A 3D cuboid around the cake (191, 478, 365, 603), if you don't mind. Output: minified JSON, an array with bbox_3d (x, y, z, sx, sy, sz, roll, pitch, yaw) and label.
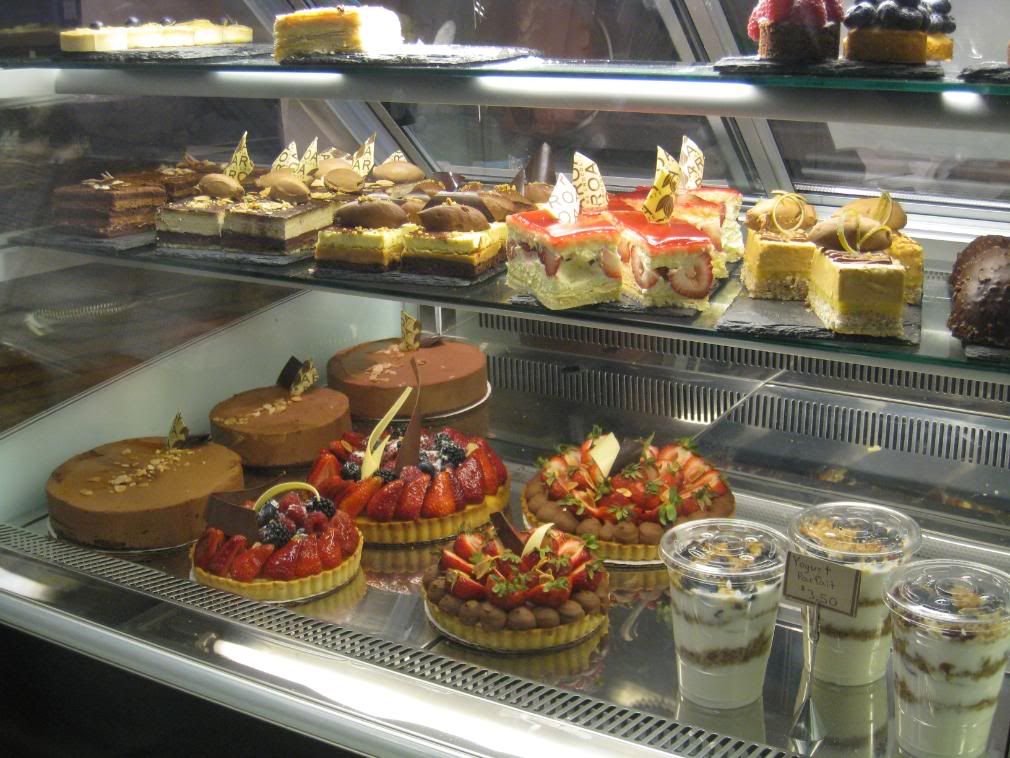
[{"bbox_3d":[-0.606,0.450,2.081,0.387,0.109,0.354,14,27,19],"label":"cake"}]

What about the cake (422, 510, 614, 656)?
[{"bbox_3d":[0.074,0.498,1.929,0.443,0.187,0.395,-9,19,-28],"label":"cake"}]

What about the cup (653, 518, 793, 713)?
[{"bbox_3d":[0.462,0.494,1.689,0.250,0.367,0.245,-5,23,2],"label":"cup"}]

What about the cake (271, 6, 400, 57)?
[{"bbox_3d":[-0.404,-0.863,1.995,0.288,0.074,0.240,7,17,25],"label":"cake"}]
